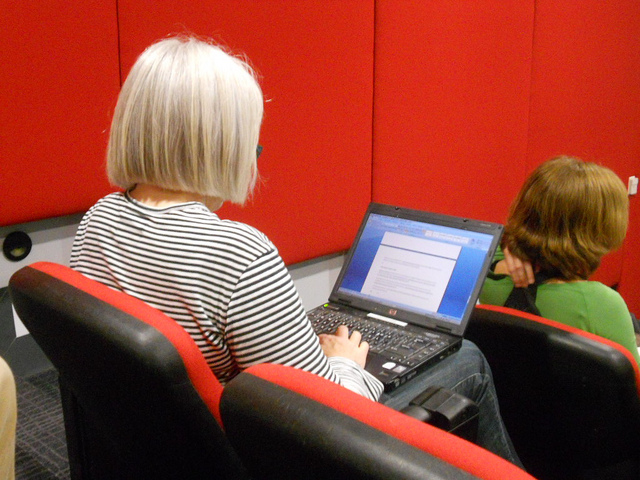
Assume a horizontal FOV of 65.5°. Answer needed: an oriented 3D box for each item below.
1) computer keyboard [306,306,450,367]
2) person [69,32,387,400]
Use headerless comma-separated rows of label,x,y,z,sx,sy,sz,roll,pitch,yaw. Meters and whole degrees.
computer keyboard,0.138,0.260,1.396,0.416,0.113,0.178,14,-6,38
person,-0.235,-0.013,1.221,0.713,0.814,0.566,9,11,39
